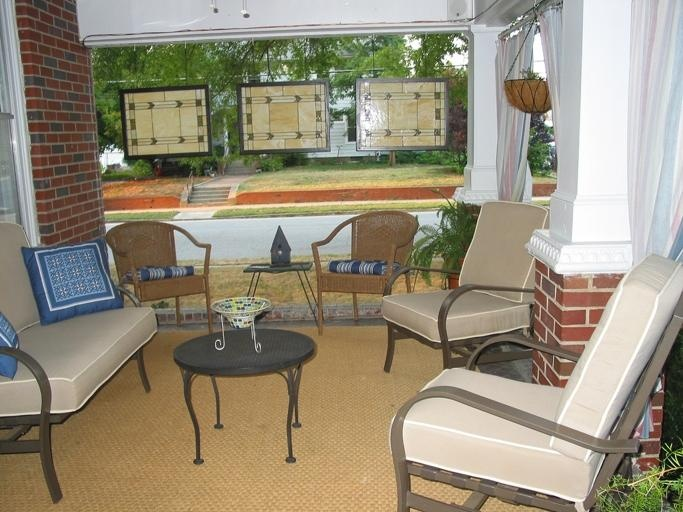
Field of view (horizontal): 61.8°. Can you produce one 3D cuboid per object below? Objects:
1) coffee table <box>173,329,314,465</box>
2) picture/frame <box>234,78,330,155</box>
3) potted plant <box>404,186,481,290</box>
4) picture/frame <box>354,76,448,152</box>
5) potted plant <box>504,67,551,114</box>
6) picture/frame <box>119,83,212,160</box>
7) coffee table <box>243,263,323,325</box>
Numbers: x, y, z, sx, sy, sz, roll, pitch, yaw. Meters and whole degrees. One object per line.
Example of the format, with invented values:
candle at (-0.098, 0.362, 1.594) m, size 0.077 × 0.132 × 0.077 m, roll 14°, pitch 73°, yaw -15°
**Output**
coffee table at (-0.585, 0.735, 3.488) m, size 0.783 × 0.588 × 0.789 m, roll -1°, pitch 4°, yaw 0°
picture/frame at (-0.617, -1.469, 6.008) m, size 0.798 × 0.612 × 0.036 m, roll 0°, pitch 6°, yaw -1°
potted plant at (1.009, -0.208, 5.783) m, size 0.655 × 0.986 × 0.963 m, roll 0°, pitch 5°, yaw -12°
picture/frame at (0.618, -1.508, 6.005) m, size 0.760 × 0.608 × 0.036 m, roll 0°, pitch 6°, yaw 3°
potted plant at (1.473, -1.254, 4.352) m, size 0.393 × 0.251 × 0.390 m, roll 5°, pitch 22°, yaw 43°
picture/frame at (-1.863, -1.419, 6.023) m, size 0.783 × 0.627 × 0.035 m, roll -2°, pitch 8°, yaw 0°
coffee table at (-0.639, 0.224, 5.773) m, size 0.847 × 0.610 × 0.565 m, roll 1°, pitch 8°, yaw 4°
